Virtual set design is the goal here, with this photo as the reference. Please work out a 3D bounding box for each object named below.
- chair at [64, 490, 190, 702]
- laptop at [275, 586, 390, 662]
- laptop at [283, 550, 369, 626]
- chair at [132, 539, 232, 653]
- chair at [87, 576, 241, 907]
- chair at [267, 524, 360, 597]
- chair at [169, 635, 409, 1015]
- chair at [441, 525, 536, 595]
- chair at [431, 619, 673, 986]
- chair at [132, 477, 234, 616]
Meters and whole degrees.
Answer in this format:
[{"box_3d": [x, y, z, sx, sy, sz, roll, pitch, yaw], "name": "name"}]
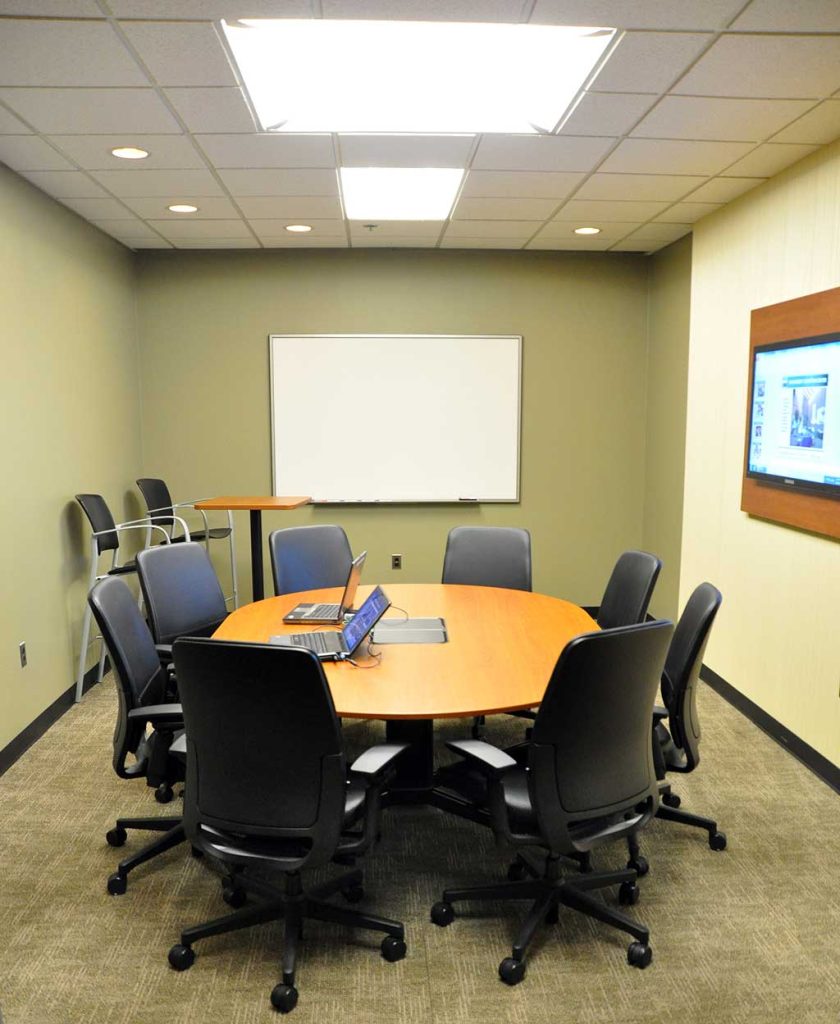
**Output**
[{"box_3d": [-1.599, 0.407, 4.278, 0.528, 0.960, 0.497, -9, 6, -26], "name": "chair"}, {"box_3d": [-0.252, 0.378, 2.374, 0.229, 0.151, 0.238, 2, 9, 1], "name": "laptop"}, {"box_3d": [-0.344, 0.233, 2.775, 0.241, 0.208, 0.324, 3, 8, 5], "name": "laptop"}, {"box_3d": [-0.953, 0.300, 3.012, 0.382, 0.493, 0.354, 5, 8, 39], "name": "chair"}, {"box_3d": [-0.737, 0.654, 2.351, 0.590, 0.910, 0.566, 1, 4, 44], "name": "chair"}, {"box_3d": [-0.572, 0.200, 3.809, 0.357, 0.571, 0.377, -3, 3, -27], "name": "chair"}, {"box_3d": [-0.329, 0.711, 1.866, 0.587, 0.923, 0.624, -2, 5, -21], "name": "chair"}, {"box_3d": [0.344, 0.237, 3.788, 0.322, 0.410, 0.358, 1, 0, 10], "name": "chair"}, {"box_3d": [0.352, 0.701, 1.949, 0.558, 0.936, 0.562, 2, 5, 19], "name": "chair"}, {"box_3d": [-1.524, 0.263, 4.953, 0.617, 1.002, 0.590, -3, 5, 26], "name": "chair"}]
